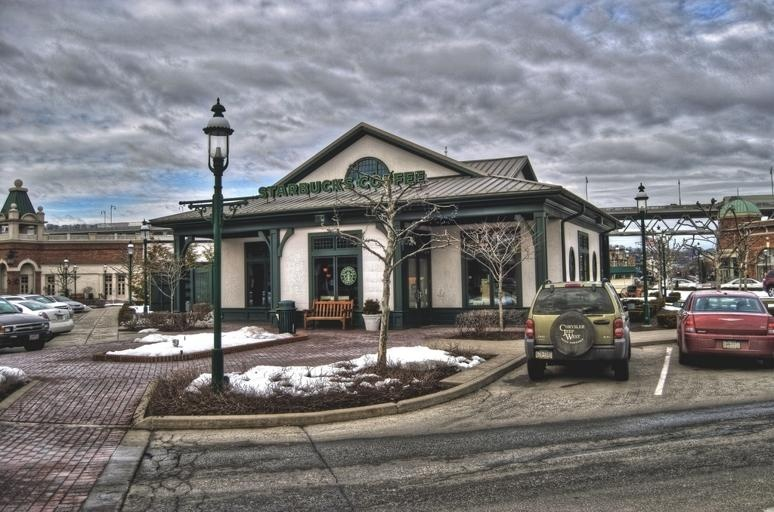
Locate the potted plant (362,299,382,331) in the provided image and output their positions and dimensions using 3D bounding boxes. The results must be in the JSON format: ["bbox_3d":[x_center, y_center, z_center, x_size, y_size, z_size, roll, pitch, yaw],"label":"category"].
[{"bbox_3d":[-0.535,2.224,24.877,0.685,1.166,1.207,-2,7,-10],"label":"potted plant"}]

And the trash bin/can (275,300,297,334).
[{"bbox_3d":[-3.559,2.134,23.224,0.825,1.190,0.822,-1,1,27],"label":"trash bin/can"}]

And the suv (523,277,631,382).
[{"bbox_3d":[4.271,1.534,14.717,1.595,1.428,2.868,-2,2,17],"label":"suv"}]

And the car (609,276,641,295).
[{"bbox_3d":[20.219,2.432,55.347,1.648,1.407,2.997,-1,-6,11],"label":"car"}]
